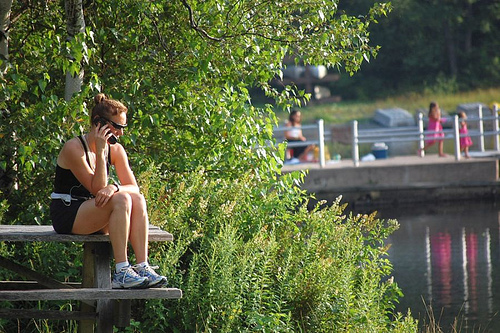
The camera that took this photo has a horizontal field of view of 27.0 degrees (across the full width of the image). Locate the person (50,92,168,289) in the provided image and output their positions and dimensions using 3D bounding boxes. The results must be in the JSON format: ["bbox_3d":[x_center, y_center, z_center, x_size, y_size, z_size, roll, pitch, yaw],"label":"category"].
[{"bbox_3d":[-2.146,0.365,15.251,1.471,2.909,0.516,0,-9,-9],"label":"person"}]

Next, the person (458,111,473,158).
[{"bbox_3d":[5.227,-0.771,25.250,0.296,1.191,0.429,-3,-9,15],"label":"person"}]

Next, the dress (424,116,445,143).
[{"bbox_3d":[4.486,-0.919,25.307,0.516,0.721,0.653,-9,11,10],"label":"dress"}]

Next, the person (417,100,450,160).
[{"bbox_3d":[4.468,-0.937,25.263,0.808,1.393,2.355,-3,-9,9],"label":"person"}]

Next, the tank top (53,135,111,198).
[{"bbox_3d":[-2.497,0.002,15.378,0.757,0.908,0.258,1,-9,-15],"label":"tank top"}]

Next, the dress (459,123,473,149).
[{"bbox_3d":[5.225,-0.765,25.281,0.258,0.627,0.354,-5,-9,25],"label":"dress"}]

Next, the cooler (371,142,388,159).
[{"bbox_3d":[3.476,-0.432,27.990,0.446,0.558,0.693,-2,-9,7],"label":"cooler"}]

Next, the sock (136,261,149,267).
[{"bbox_3d":[-1.555,1.421,15.053,0.187,0.087,0.076,0,-9,-12],"label":"sock"}]
